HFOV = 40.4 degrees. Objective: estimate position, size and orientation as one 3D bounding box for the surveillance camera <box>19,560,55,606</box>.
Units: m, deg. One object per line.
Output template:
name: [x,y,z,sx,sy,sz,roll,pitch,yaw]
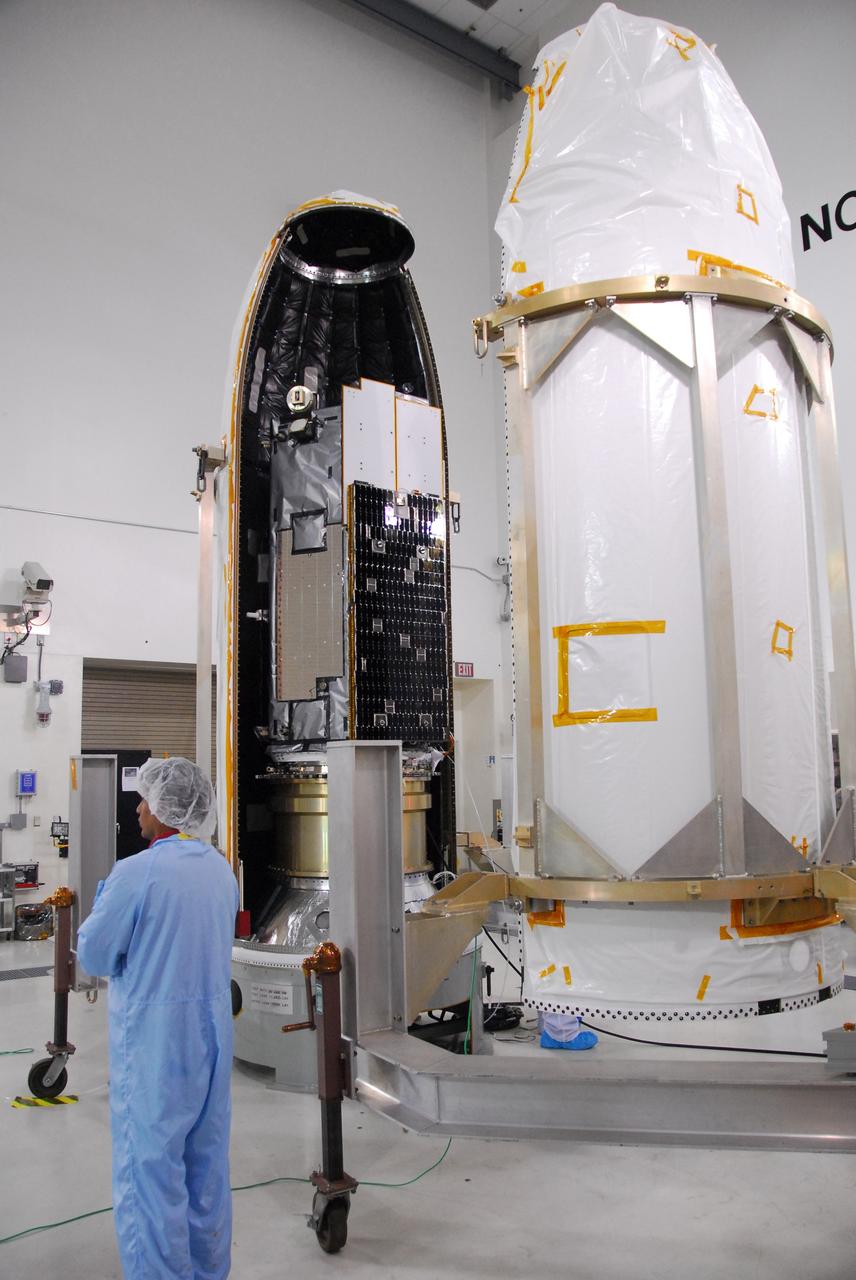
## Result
surveillance camera: [-3.681,-0.549,10.904,0.242,0.356,0.472,0,-5,-19]
